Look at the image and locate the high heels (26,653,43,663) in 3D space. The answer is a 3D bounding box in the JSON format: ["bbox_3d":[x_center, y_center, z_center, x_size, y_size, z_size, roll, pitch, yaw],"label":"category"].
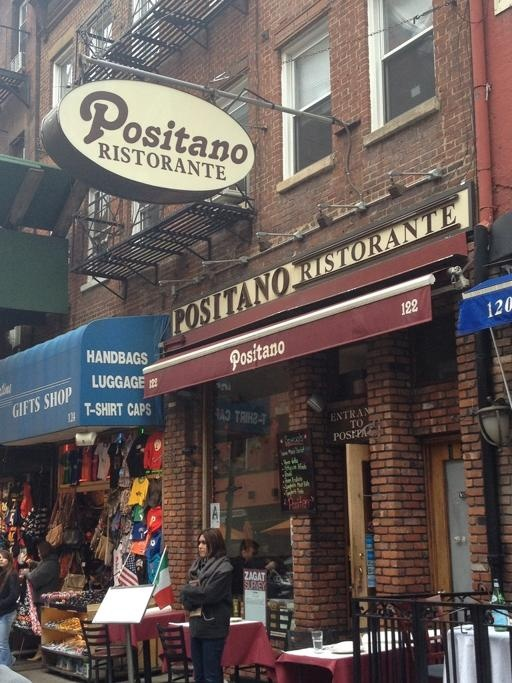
[{"bbox_3d":[-3.015,4.277,13.302,0.235,0.168,0.095,2,-15,0],"label":"high heels"}]

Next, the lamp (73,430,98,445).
[{"bbox_3d":[-2.262,1.254,13.130,0.245,0.186,0.198,-3,-48,9],"label":"lamp"}]

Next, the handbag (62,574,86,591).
[{"bbox_3d":[-2.711,3.596,14.689,0.225,0.231,0.099,2,-10,2],"label":"handbag"}]

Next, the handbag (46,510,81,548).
[{"bbox_3d":[-2.971,2.922,15.250,0.462,0.495,0.224,-4,-32,12],"label":"handbag"}]

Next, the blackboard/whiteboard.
[{"bbox_3d":[0.462,1.396,10.555,0.069,1.021,0.715,9,-20,-26],"label":"blackboard/whiteboard"}]

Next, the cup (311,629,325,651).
[{"bbox_3d":[0.488,2.371,7.813,0.130,0.208,0.131,-1,-15,0],"label":"cup"}]
